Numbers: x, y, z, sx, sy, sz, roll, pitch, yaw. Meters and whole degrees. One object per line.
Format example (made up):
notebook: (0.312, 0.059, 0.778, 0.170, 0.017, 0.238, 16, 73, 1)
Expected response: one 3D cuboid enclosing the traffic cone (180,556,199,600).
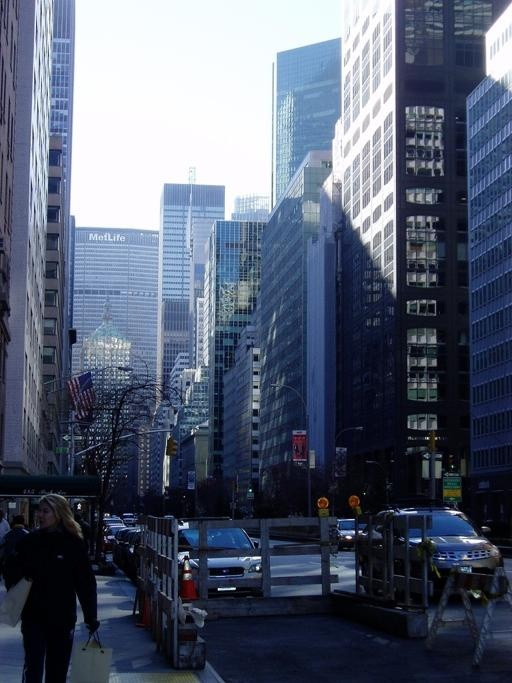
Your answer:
traffic cone: (-0.897, 3.154, 11.613, 0.209, 0.566, 0.964, 0, -10, -5)
